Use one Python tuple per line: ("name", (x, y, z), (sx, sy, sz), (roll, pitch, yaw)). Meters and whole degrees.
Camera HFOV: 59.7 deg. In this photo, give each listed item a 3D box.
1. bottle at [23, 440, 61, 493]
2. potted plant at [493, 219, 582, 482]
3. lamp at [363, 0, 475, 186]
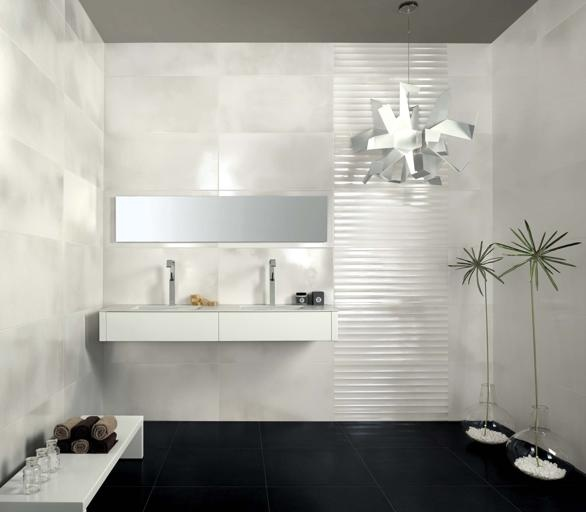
("bottle", (-1.308, 1.089, 2.674), (0.177, 0.196, 0.208), (0, -1, -26))
("potted plant", (1.592, 0.551, 3.448), (0.464, 1.664, 0.936), (0, -1, -2))
("lamp", (0.762, -1.157, 3.593), (0.704, 1.275, 0.788), (0, -1, -8))
